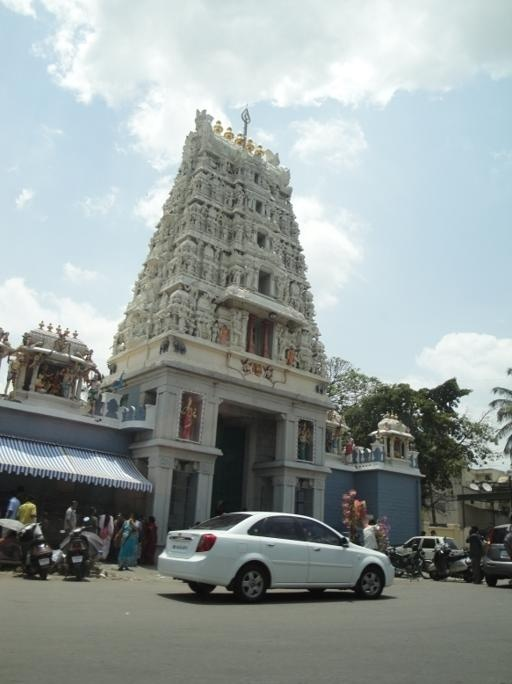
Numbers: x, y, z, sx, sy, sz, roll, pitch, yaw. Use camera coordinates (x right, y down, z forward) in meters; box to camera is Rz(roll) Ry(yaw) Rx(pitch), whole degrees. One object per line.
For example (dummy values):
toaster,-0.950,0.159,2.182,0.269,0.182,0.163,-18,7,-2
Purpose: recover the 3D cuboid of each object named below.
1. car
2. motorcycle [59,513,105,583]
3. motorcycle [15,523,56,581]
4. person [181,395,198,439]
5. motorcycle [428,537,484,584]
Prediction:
car,0.420,3.304,8.477,3.715,1.290,1.299,13,-17,-35
motorcycle,-3.432,3.916,10.364,0.783,0.993,1.728,-5,-16,-18
motorcycle,-3.944,3.599,9.732,0.567,0.860,1.536,-5,-2,-29
person,-2.245,2.450,18.121,0.186,1.508,0.672,-8,-19,36
motorcycle,5.264,5.894,14.627,0.693,0.971,1.509,18,-28,-38
